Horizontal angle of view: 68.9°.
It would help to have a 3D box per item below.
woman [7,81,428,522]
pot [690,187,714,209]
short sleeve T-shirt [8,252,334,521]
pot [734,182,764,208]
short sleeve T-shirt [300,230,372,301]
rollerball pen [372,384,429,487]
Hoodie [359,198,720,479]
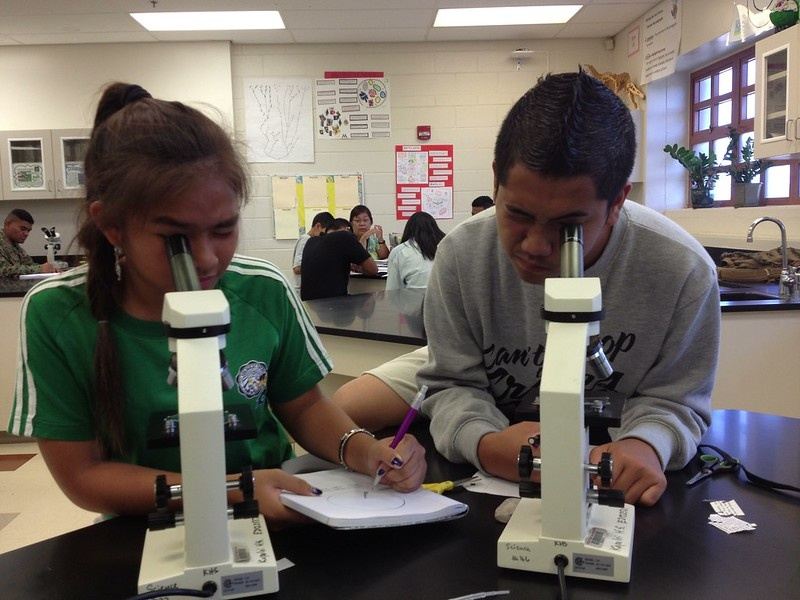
[{"bbox_3d":[-0.483,-0.069,1.515,0.960,1.055,0.785,5,18,30],"label":"woman"},{"bbox_3d":[2.438,-0.830,4.740,0.167,0.137,0.167,-2,8,0],"label":"pot"},{"bbox_3d":[-0.452,0.125,1.346,0.816,0.599,0.425,-5,3,-15],"label":"short sleeve T-shirt"},{"bbox_3d":[2.515,-0.751,4.177,0.180,0.152,0.175,-1,-2,0],"label":"pot"},{"bbox_3d":[-0.530,-0.314,4.815,0.619,0.605,0.451,-21,30,-37],"label":"short sleeve T-shirt"},{"bbox_3d":[0.002,0.291,1.239,0.022,0.203,0.021,37,-27,-29],"label":"rollerball pen"},{"bbox_3d":[0.353,0.064,1.415,0.745,0.714,0.557,6,14,28],"label":"Hoodie"}]
